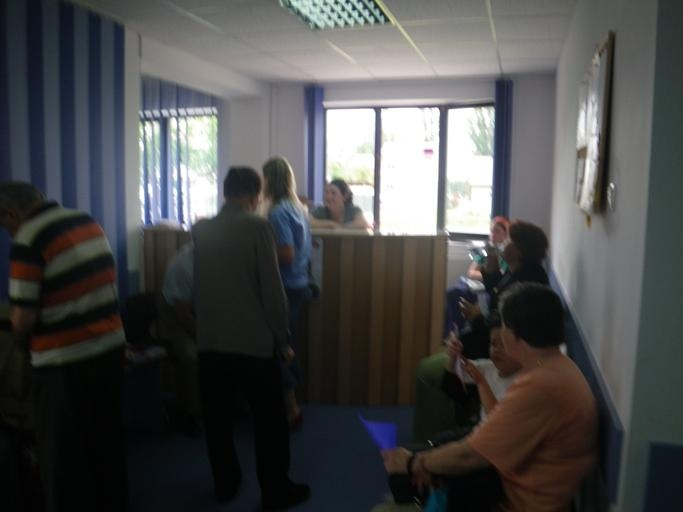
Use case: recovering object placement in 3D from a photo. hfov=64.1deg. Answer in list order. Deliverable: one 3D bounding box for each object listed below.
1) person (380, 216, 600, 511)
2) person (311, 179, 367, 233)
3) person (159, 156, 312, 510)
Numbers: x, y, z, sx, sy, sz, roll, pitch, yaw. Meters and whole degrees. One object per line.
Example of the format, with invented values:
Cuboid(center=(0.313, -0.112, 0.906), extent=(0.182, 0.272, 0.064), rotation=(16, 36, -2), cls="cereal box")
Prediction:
Cuboid(center=(0.943, 0.402, 3.833), extent=(1.230, 2.444, 0.892), rotation=(4, -9, 6), cls="person")
Cuboid(center=(-0.020, -0.486, 5.030), extent=(0.512, 0.404, 0.742), rotation=(0, 13, -4), cls="person")
Cuboid(center=(-0.461, 0.472, 2.784), extent=(0.590, 1.794, 0.367), rotation=(1, 11, -2), cls="person")
